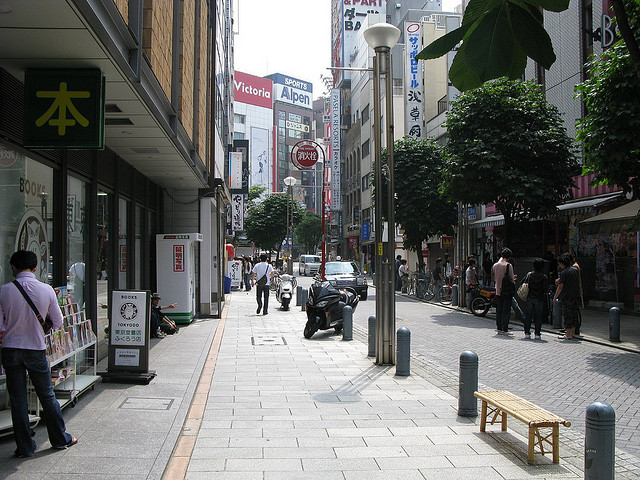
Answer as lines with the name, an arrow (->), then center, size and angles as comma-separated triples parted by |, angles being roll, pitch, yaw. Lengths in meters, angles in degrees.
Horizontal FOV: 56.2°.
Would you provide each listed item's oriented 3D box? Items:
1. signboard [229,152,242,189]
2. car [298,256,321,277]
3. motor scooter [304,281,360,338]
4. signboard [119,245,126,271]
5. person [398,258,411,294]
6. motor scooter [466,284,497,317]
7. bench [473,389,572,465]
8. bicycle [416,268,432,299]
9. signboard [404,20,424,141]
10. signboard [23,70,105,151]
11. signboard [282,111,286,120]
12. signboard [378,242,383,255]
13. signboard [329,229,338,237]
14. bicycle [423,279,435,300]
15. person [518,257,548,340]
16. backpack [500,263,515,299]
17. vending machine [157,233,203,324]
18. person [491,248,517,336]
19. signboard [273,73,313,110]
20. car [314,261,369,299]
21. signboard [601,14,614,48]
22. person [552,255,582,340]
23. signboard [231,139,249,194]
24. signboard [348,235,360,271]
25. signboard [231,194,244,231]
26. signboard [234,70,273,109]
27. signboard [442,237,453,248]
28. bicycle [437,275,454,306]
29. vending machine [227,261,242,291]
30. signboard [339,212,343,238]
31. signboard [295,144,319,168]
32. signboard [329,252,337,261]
signboard -> -4.736, -3.971, 33.993 | 0.580, 1.977, 1.473 | -1, -2, -2
car -> -0.678, 2.331, 56.777 | 1.142, 1.428, 2.728 | 0, -7, -9
motor scooter -> 0.364, 1.745, 16.216 | 0.812, 1.575, 2.517 | 10, 7, 29
signboard -> -4.535, 0.407, 13.841 | 0.066, 0.586, 0.504 | -1, -2, -9
person -> 4.369, 1.862, 30.908 | 0.632, 1.714, 2.447 | -2, -2, 9
motor scooter -> 5.347, 1.984, 19.610 | 0.598, 1.011, 1.639 | -1, -2, -11
bench -> 2.264, 2.132, 6.910 | 0.424, 0.524, 1.478 | 1, -2, -11
bicycle -> 4.978, 2.104, 27.974 | 0.720, 1.071, 1.610 | -1, -4, 8
signboard -> 6.693, -11.636, 42.758 | 1.371, 8.805, 2.352 | -1, -1, 10
signboard -> -3.106, -1.580, 7.244 | 0.940, 0.975, 0.152 | -1, -1, -2
signboard -> -8.615, -30.228, 146.066 | 0.628, 1.995, 1.358 | -3, -2, 42
signboard -> 1.127, 0.153, 11.115 | 0.081, 0.217, 0.142 | -1, -2, 4
signboard -> 2.052, -1.360, 86.364 | 0.774, 1.186, 1.627 | 0, -3, -6
bicycle -> 4.859, 2.289, 26.624 | 0.214, 0.694, 0.467 | 2, 2, -7
person -> 5.416, 1.454, 15.089 | 0.581, 1.948, 1.214 | -2, -2, 26
backpack -> 4.867, 1.062, 15.591 | 0.372, 0.902, 0.168 | -1, -1, 1
vending machine -> -4.201, 1.081, 17.588 | 0.940, 2.694, 1.075 | 2, 4, -8
person -> 4.882, 1.337, 15.810 | 0.557, 2.219, 1.189 | -2, -2, 16
signboard -> -6.916, -37.618, 151.108 | 2.165, 7.761, 12.486 | -3, -2, 45
car -> 1.209, 1.743, 26.374 | 1.315, 1.134, 2.257 | 0, -6, -7
signboard -> 9.778, -7.157, 20.470 | 0.241, 1.512, 1.143 | -2, -2, 20
person -> 6.077, 1.373, 14.653 | 0.572, 2.034, 0.630 | -2, -2, 23
signboard -> -6.093, -5.632, 46.860 | 1.275, 4.697, 0.899 | 0, -28, -9
signboard -> 3.452, 1.061, 58.911 | 1.561, 3.431, 3.307 | 0, -3, -3
signboard -> -5.573, -1.932, 40.327 | 0.818, 2.426, 1.583 | -1, -2, -12
signboard -> -13.472, -31.174, 126.577 | 9.142, 6.130, 1.022 | 3, 4, -37
signboard -> 6.771, 0.107, 31.821 | 0.487, 0.515, 0.242 | 0, -7, -11
bicycle -> 5.398, 2.130, 25.744 | 0.670, 1.104, 3.014 | -2, -3, 13
vending machine -> -5.092, 1.968, 35.991 | 1.114, 1.870, 1.163 | -2, 0, -29
signboard -> 2.783, -1.960, 77.608 | 0.461, 3.199, 0.742 | -1, -1, 2
signboard -> -0.530, -3.347, 23.630 | 0.756, 0.976, 0.122 | -2, 1, -4
signboard -> 1.699, 2.314, 86.414 | 0.775, 1.696, 0.852 | -3, 5, -4
